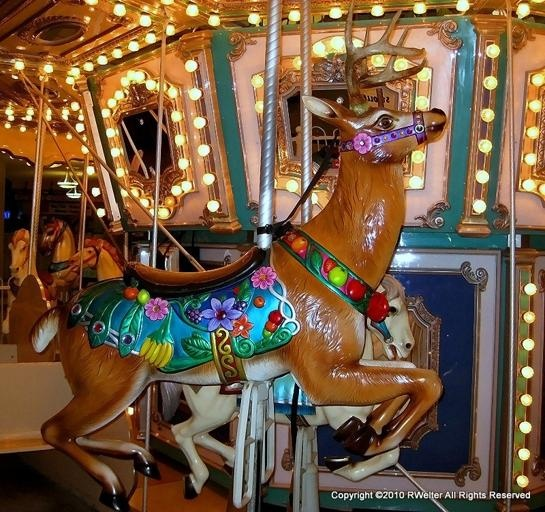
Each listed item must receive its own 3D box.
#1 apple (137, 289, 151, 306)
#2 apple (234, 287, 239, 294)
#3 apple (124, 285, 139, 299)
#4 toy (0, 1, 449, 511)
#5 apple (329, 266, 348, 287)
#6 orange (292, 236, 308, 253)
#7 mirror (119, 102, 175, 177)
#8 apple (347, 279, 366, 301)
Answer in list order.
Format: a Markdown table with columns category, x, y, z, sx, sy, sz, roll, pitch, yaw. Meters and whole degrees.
| category | x | y | z | sx | sy | sz | roll | pitch | yaw |
| --- | --- | --- | --- | --- | --- | --- | --- | --- | --- |
| apple | -0.469 | 0.149 | 2.195 | 0.048 | 0.056 | 0.048 | 0 | 2 | -4 |
| apple | -0.128 | 0.123 | 2.146 | 0.023 | 0.023 | 0.018 | -7 | 12 | -16 |
| apple | -0.516 | 0.136 | 2.208 | 0.043 | 0.043 | 0.042 | 17 | 23 | 3 |
| toy | -0.089 | -0.034 | 2.201 | 1.443 | 1.764 | 0.650 | -2 | 12 | 8 |
| apple | 0.230 | 0.075 | 2.120 | 0.061 | 0.058 | 0.059 | 17 | -16 | -29 |
| orange | 0.096 | -0.035 | 2.185 | 0.048 | 0.057 | 0.032 | -13 | -20 | 18 |
| mirror | -0.880 | -0.805 | 4.108 | 0.437 | 0.424 | 0.119 | 13 | 21 | 39 |
| apple | 0.289 | 0.120 | 2.116 | 0.066 | 0.066 | 0.036 | -20 | -2 | -21 |
